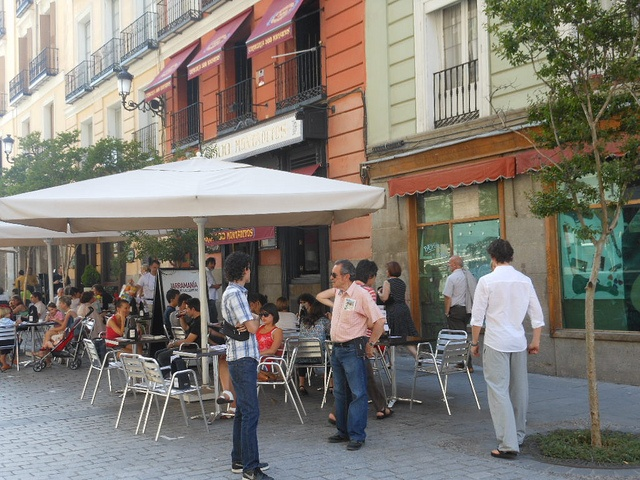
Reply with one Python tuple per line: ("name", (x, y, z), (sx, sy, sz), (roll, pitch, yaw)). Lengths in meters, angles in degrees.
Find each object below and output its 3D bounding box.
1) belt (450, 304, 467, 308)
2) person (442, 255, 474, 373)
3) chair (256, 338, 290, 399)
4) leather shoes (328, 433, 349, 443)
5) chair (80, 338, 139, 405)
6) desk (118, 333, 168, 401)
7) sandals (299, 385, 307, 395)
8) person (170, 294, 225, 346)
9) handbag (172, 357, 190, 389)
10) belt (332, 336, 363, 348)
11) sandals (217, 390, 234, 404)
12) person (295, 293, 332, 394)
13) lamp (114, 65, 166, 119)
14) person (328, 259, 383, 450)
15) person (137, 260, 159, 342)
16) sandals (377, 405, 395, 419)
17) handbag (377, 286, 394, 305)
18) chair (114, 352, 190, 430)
("belt", (2.612, 1.243, 14.826), (0.280, 0.077, 0.045), (0, 6, 22))
("person", (2.569, 1.341, 14.981), (0.520, 1.994, 0.663), (0, 6, -26))
("chair", (-0.725, 2.139, 12.568), (0.650, 1.016, 0.610), (0, 6, -28))
("leather shoes", (0.257, 2.715, 10.935), (0.250, 0.131, 0.121), (7, -4, -3))
("chair", (-3.766, 2.207, 13.710), (0.664, 1.054, 0.563), (1, 1, -43))
("desk", (-3.227, 2.215, 14.156), (0.945, 0.991, 0.991), (0, -3, -4))
("sandals", (-0.309, 2.563, 13.565), (0.138, 0.166, 0.399), (-2, -9, 0))
("person", (-2.129, 1.731, 13.893), (1.055, 1.387, 0.627), (-4, 2, -21))
("handbag", (-2.082, 1.954, 11.652), (0.255, 0.417, 0.756), (-3, 6, -12))
("belt", (0.395, 1.401, 10.854), (0.419, 0.138, 0.125), (-2, 5, 2))
("sandals", (-1.445, 2.382, 12.002), (0.145, 0.148, 0.344), (-10, -21, 18))
("person", (-0.145, 1.763, 13.583), (0.594, 1.593, 0.566), (4, 7, 32))
("lamp", (-5.779, -4.785, 25.475), (1.738, 2.401, 1.682), (4, 6, 43))
("person", (0.478, 1.542, 10.851), (0.752, 2.468, 0.682), (-1, 5, 10))
("person", (-4.470, 1.497, 20.871), (0.713, 2.507, 0.689), (-2, 5, -19))
("sandals", (0.984, 2.587, 11.929), (0.114, 0.136, 0.279), (2, 7, 36))
("handbag", (1.190, 1.005, 14.470), (0.258, 0.380, 0.139), (-3, 9, -34))
("chair", (-2.241, 2.227, 11.691), (0.882, 1.140, 0.938), (-1, 0, 8))
